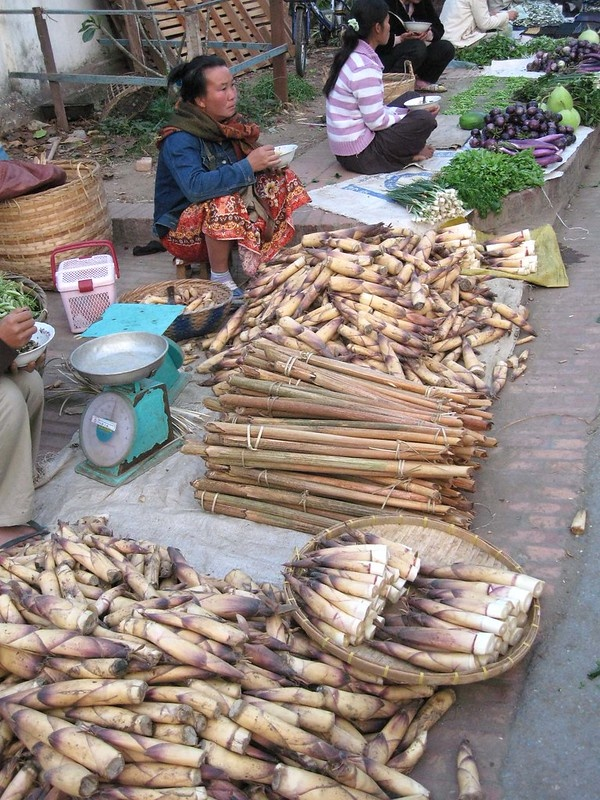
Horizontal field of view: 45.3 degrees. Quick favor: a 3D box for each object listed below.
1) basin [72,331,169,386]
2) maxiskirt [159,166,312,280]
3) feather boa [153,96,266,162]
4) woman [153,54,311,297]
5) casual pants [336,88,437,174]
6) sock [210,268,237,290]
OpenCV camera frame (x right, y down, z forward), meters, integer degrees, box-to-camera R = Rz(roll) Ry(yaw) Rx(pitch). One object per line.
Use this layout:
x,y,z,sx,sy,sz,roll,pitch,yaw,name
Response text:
-0.759,-0.183,3.023,0.320,0.064,0.273,7,35,11,basin
-0.522,-1.157,4.838,0.953,0.542,0.968,5,28,20,maxiskirt
-0.576,-1.715,4.631,0.622,0.253,0.432,-4,14,14,feather boa
-0.422,-1.403,4.700,1.146,1.441,0.943,-2,33,-4,woman
0.727,-2.222,5.901,0.621,0.352,0.751,-11,22,4,casual pants
-0.502,-0.782,4.701,0.162,0.162,0.176,0,18,5,sock
